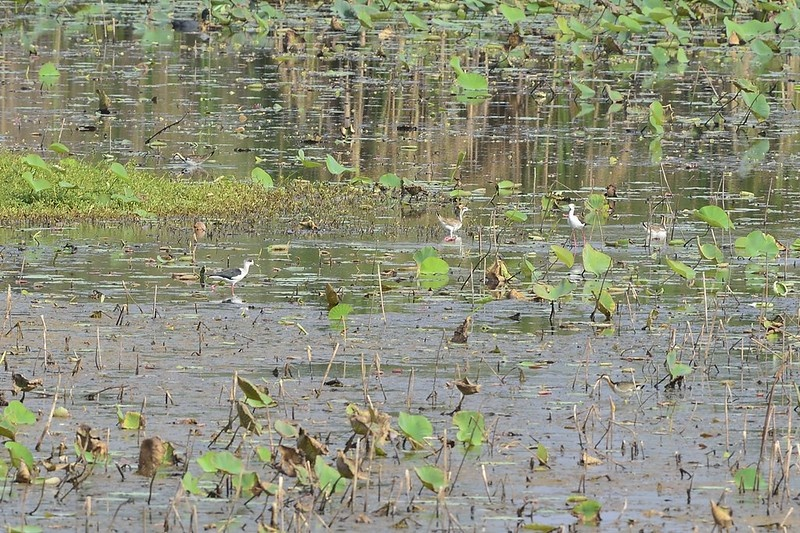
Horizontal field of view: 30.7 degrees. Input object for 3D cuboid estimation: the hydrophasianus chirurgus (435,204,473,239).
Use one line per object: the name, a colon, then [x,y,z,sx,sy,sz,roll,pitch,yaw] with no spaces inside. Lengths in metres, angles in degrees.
hydrophasianus chirurgus: [0.763,-0.716,22.295,0.613,0.478,0.205,4,-4,-32]

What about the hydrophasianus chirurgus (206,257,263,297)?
hydrophasianus chirurgus: [-2.191,0.067,19.549,0.636,0.429,0.233,4,12,29]
